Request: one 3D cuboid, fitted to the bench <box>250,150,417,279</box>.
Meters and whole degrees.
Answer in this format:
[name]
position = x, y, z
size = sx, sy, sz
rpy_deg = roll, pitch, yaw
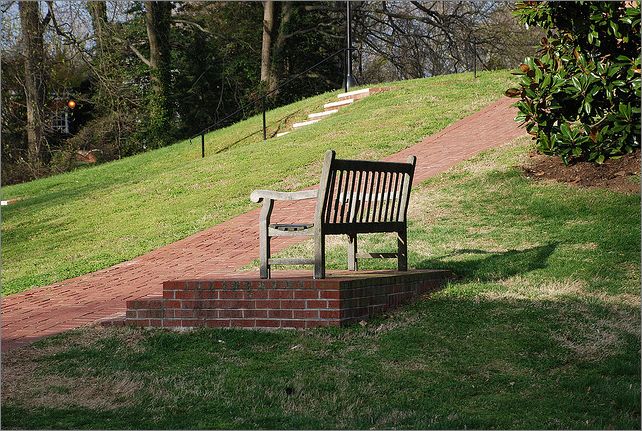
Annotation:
[bench]
position = 0.384, -0.012, 28.084
size = 2.592, 2.996, 4.049
rpy_deg = -2, 0, 36
